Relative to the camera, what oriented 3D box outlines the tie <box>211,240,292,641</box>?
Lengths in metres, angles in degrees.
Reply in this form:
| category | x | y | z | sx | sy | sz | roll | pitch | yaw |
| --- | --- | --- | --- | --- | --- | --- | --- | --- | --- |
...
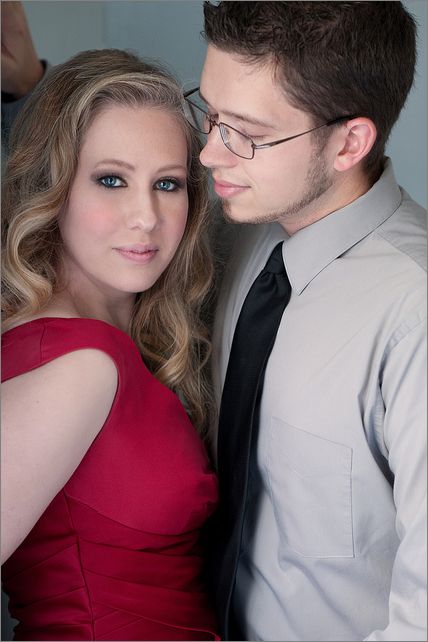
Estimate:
| category | x | y | z | sx | sy | sz | roll | pitch | yaw |
| --- | --- | --- | --- | --- | --- | --- | --- | --- | --- |
| tie | 0.069 | 0.240 | 1.451 | 0.051 | 1.026 | 0.158 | 8 | -10 | -6 |
